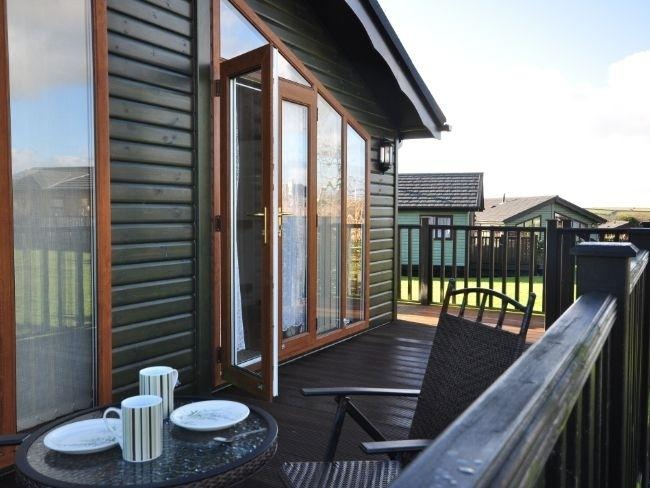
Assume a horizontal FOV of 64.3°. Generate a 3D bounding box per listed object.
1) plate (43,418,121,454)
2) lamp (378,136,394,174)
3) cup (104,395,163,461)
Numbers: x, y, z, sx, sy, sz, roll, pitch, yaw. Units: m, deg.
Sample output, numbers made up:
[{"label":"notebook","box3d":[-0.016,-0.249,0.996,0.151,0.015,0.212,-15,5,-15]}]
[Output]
[{"label":"plate","box3d":[-0.836,0.679,1.810,0.177,0.019,0.174,2,7,15]},{"label":"lamp","box3d":[0.733,-1.054,6.188,0.193,0.389,0.217,3,9,34]},{"label":"cup","box3d":[-0.612,0.608,1.741,0.142,0.205,0.169,1,5,-20]}]
